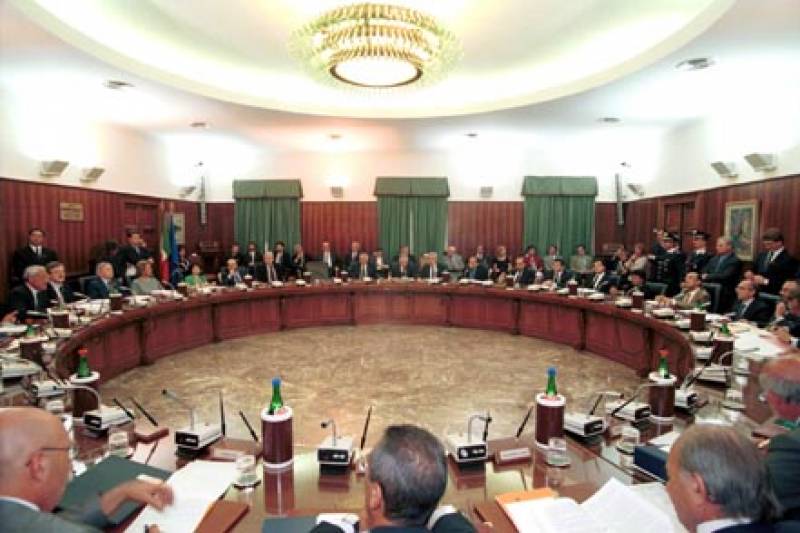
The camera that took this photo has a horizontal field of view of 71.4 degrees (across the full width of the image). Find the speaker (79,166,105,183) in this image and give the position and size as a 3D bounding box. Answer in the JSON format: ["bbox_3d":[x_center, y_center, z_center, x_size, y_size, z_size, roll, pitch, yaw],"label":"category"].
[{"bbox_3d":[-5.234,-1.558,9.438,0.260,0.265,0.361,4,8,45],"label":"speaker"}]

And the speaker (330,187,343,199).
[{"bbox_3d":[-1.415,-1.693,12.758,0.323,0.312,0.235,2,38,3],"label":"speaker"}]

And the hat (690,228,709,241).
[{"bbox_3d":[4.940,-0.530,9.037,0.332,0.172,0.296,-1,-2,-13],"label":"hat"}]

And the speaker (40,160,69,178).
[{"bbox_3d":[-5.345,-1.491,8.580,0.289,0.222,0.301,5,8,30],"label":"speaker"}]

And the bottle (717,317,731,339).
[{"bbox_3d":[3.266,0.620,5.614,0.141,0.146,0.134,-1,4,11],"label":"bottle"}]

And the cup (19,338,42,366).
[{"bbox_3d":[-3.390,0.783,5.109,0.167,0.241,0.197,-10,16,-37],"label":"cup"}]

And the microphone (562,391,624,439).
[{"bbox_3d":[1.489,1.157,4.361,0.418,0.251,0.242,-12,17,-43],"label":"microphone"}]

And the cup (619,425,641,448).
[{"bbox_3d":[1.727,1.284,4.186,0.134,0.115,0.134,1,-9,0],"label":"cup"}]

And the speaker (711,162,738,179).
[{"bbox_3d":[5.117,-1.525,8.783,0.300,0.208,0.218,-13,-6,-20],"label":"speaker"}]

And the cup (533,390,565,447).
[{"bbox_3d":[1.123,1.147,4.175,0.210,0.370,0.271,4,13,18],"label":"cup"}]

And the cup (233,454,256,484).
[{"bbox_3d":[-1.099,1.424,3.935,0.156,0.150,0.155,0,-3,0],"label":"cup"}]

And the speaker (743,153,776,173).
[{"bbox_3d":[5.192,-1.502,8.041,0.281,0.285,0.367,-3,13,-12],"label":"speaker"}]

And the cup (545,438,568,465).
[{"bbox_3d":[1.143,1.361,4.123,0.179,0.165,0.173,0,-11,0],"label":"cup"}]

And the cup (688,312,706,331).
[{"bbox_3d":[3.215,0.580,5.978,0.180,0.229,0.168,0,13,0],"label":"cup"}]

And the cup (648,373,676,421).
[{"bbox_3d":[2.089,1.015,4.433,0.203,0.344,0.240,5,14,23],"label":"cup"}]

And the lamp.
[{"bbox_3d":[-0.295,-2.689,6.770,1.992,0.802,1.012,-2,13,-9],"label":"lamp"}]

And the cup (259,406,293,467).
[{"bbox_3d":[-0.905,1.215,4.006,0.237,0.418,0.154,0,13,-2],"label":"cup"}]
